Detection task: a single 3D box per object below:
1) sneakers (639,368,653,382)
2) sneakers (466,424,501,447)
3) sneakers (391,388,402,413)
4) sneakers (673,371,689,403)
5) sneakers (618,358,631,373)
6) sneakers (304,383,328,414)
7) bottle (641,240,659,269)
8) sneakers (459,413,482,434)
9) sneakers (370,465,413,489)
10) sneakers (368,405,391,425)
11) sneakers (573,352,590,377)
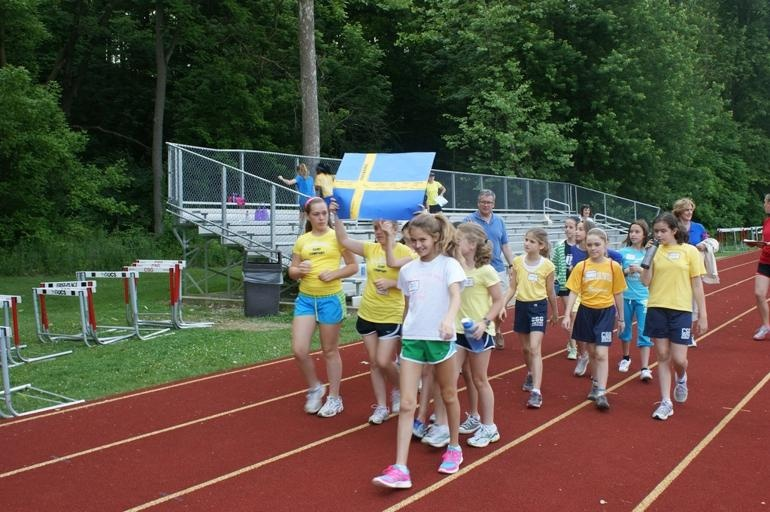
[{"bbox_3d":[4.592,2.092,13.674,0.136,0.144,0.322,-3,-13,11],"label":"sneakers"},{"bbox_3d":[1.455,2.652,11.408,0.571,0.282,0.220,-7,4,-30],"label":"sneakers"},{"bbox_3d":[0.180,2.274,12.281,0.127,0.375,0.165,-17,-42,33],"label":"sneakers"},{"bbox_3d":[4.783,2.147,12.531,0.240,0.560,0.243,3,-9,28],"label":"sneakers"},{"bbox_3d":[4.323,1.982,14.077,0.127,0.158,0.377,-26,-1,31],"label":"sneakers"},{"bbox_3d":[-1.102,2.299,12.415,0.229,0.551,0.252,-17,-46,44],"label":"sneakers"},{"bbox_3d":[4.267,-0.009,12.503,0.142,0.536,0.132,23,-37,19],"label":"bottle"},{"bbox_3d":[1.302,2.524,11.699,0.463,0.229,0.166,-5,2,-17],"label":"sneakers"},{"bbox_3d":[0.148,2.960,10.450,0.643,0.286,0.249,7,-11,-21],"label":"sneakers"},{"bbox_3d":[-0.071,2.465,12.129,0.178,0.193,0.416,-3,-8,29],"label":"sneakers"},{"bbox_3d":[3.521,1.927,13.979,0.211,0.533,0.182,44,-25,-22],"label":"sneakers"}]
